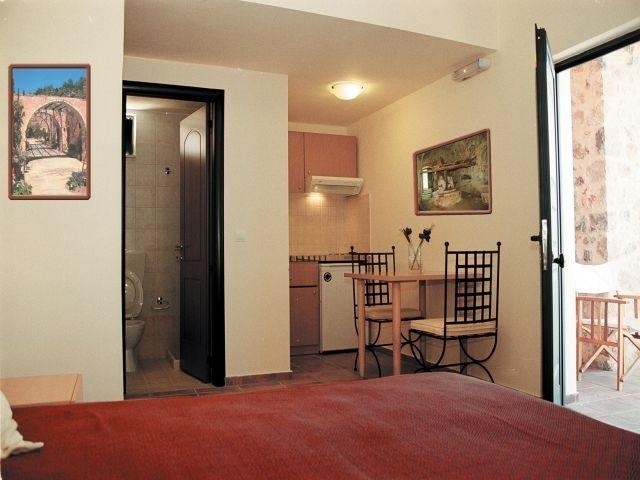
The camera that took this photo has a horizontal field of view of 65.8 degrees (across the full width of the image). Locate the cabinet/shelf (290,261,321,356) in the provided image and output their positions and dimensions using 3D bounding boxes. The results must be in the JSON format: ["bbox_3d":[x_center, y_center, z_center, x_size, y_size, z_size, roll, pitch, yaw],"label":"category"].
[{"bbox_3d":[-0.174,0.775,5.643,0.324,1.035,0.261,-1,7,-3],"label":"cabinet/shelf"}]

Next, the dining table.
[{"bbox_3d":[0.676,0.693,4.966,0.592,1.278,0.610,0,-7,-12],"label":"dining table"}]

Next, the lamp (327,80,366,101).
[{"bbox_3d":[0.276,-1.516,5.051,0.370,0.153,0.448,-1,8,-3],"label":"lamp"}]
